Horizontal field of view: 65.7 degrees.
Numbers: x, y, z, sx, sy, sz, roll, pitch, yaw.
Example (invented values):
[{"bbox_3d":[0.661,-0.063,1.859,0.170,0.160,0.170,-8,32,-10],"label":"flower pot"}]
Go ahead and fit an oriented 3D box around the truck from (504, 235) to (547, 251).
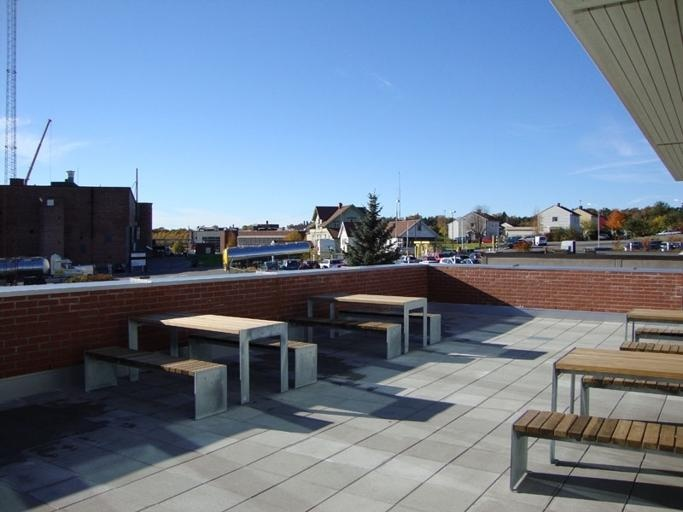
[{"bbox_3d":[25.038,-1.748,71.541,5.109,1.332,2.855,-3,7,-17],"label":"truck"}]
